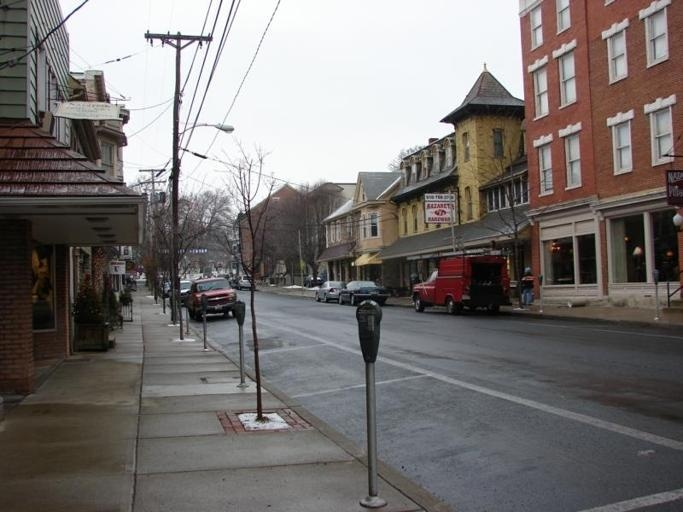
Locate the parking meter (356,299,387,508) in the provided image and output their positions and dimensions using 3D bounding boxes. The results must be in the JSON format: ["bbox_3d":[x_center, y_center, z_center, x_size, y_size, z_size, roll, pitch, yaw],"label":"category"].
[{"bbox_3d":[0.346,1.652,7.652,0.299,2.307,0.428,-1,-3,2],"label":"parking meter"}]

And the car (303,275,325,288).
[{"bbox_3d":[-2.875,2.702,69.706,1.957,1.123,1.270,-7,1,5],"label":"car"}]

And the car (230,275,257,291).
[{"bbox_3d":[-8.299,2.220,55.969,1.242,1.075,2.902,0,-6,-15],"label":"car"}]

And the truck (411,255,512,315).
[{"bbox_3d":[5.064,1.193,28.772,2.017,1.808,3.650,1,-2,-20],"label":"truck"}]

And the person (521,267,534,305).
[{"bbox_3d":[8.911,1.407,32.018,0.606,1.997,0.581,-1,28,14],"label":"person"}]
